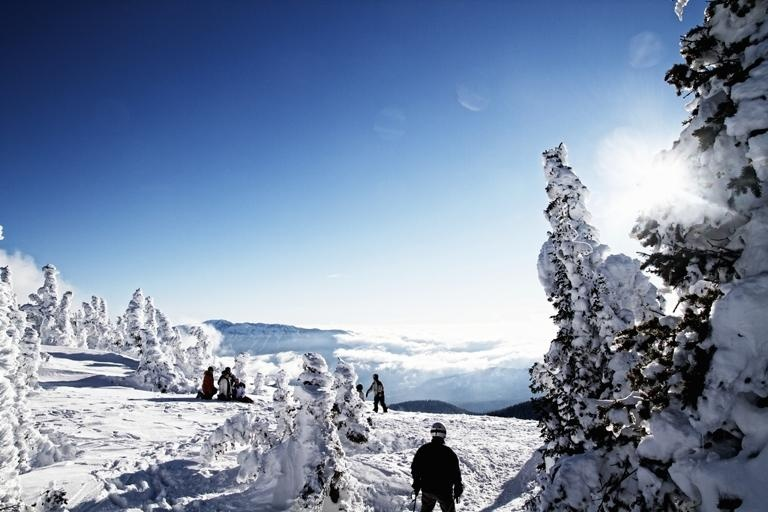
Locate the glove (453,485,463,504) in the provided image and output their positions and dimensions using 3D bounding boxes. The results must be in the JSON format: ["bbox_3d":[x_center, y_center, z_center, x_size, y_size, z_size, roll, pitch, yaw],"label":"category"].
[{"bbox_3d":[1.824,5.785,13.033,0.204,0.444,0.466,-4,-13,8],"label":"glove"}]

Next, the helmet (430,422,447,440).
[{"bbox_3d":[1.374,4.362,13.442,0.407,0.435,0.523,0,-5,16],"label":"helmet"}]
